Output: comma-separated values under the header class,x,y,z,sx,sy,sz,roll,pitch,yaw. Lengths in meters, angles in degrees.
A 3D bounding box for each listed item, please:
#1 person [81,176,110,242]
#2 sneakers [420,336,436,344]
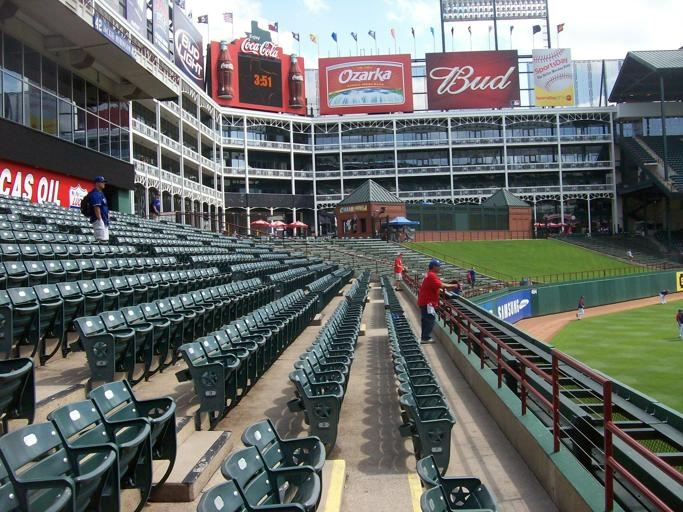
class,x,y,z,sx,sy,sz,roll,pitch,yaw
person,-5.524,-0.810,13.609,0.653,1.876,0.645,1,9,-8
sneakers,1.950,1.899,13.701,0.349,0.153,0.147,-3,0,44
